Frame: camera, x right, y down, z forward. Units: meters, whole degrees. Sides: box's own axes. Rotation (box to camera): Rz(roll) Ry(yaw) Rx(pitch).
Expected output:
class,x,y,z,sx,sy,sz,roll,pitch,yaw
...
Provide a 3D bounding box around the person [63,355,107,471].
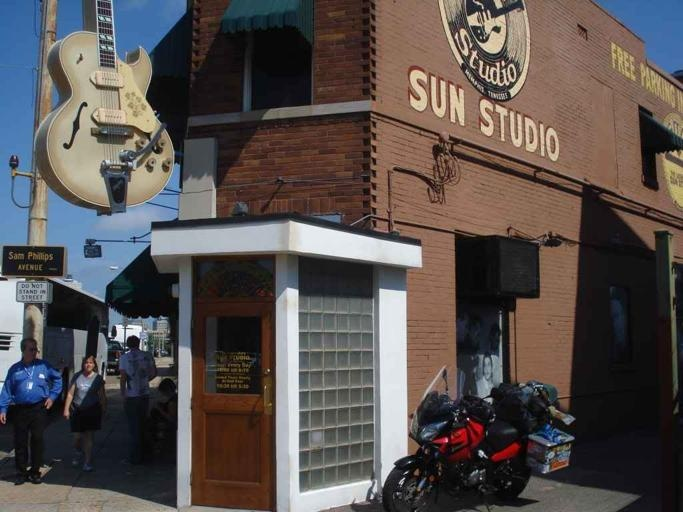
class,x,y,z,sx,sy,sz,roll,pitch,yaw
person,-4.827,2.897,13.226,0.690,1.895,1.002,3,1,-20

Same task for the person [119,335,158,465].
class,x,y,z,sx,sy,sz,roll,pitch,yaw
person,-3.942,2.727,13.471,0.637,2.187,0.515,3,1,-9

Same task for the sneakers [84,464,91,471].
class,x,y,z,sx,sy,sz,roll,pitch,yaw
sneakers,-4.634,3.824,12.820,0.128,0.105,0.126,4,1,-26

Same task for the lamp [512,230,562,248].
class,x,y,z,sx,sy,sz,roll,pitch,yaw
lamp,4.384,-0.354,15.290,1.801,0.355,0.191,5,0,-41

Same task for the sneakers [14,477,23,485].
class,x,y,z,sx,sy,sz,roll,pitch,yaw
sneakers,-5.500,3.795,11.997,0.178,0.126,0.187,4,1,-27
